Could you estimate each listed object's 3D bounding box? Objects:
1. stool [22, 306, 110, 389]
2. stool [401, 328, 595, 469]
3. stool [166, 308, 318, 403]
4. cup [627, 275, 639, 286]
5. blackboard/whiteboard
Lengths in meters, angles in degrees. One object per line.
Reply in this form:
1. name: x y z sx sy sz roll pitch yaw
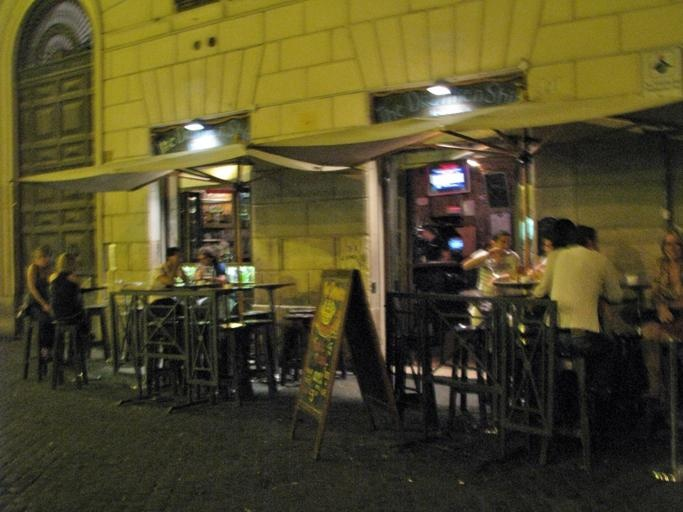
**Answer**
1. stool: -4.566 1.376 11.833 1.317 1.303 1.173 1 -1 19
2. stool: 1.992 1.347 8.205 1.497 1.301 1.899 -2 -1 44
3. stool: -1.377 1.326 10.331 1.282 1.123 1.249 0 -4 -37
4. cup: 3.756 0.309 9.537 0.068 0.113 0.116 7 -19 -36
5. blackboard/whiteboard: -0.199 0.932 8.166 0.617 1.549 0.939 3 11 24
